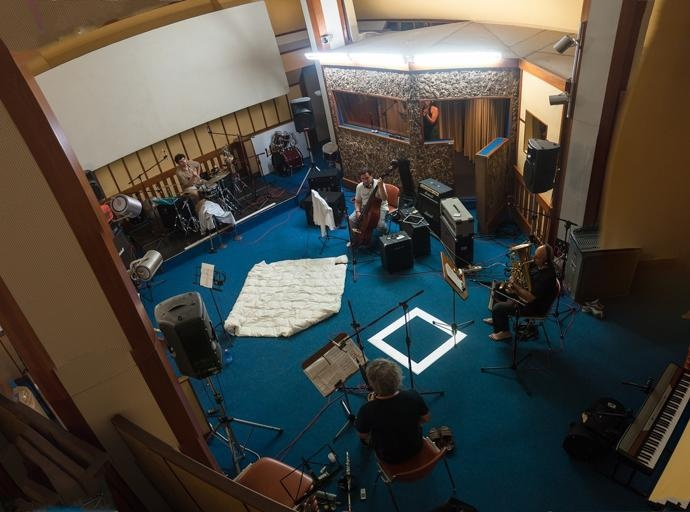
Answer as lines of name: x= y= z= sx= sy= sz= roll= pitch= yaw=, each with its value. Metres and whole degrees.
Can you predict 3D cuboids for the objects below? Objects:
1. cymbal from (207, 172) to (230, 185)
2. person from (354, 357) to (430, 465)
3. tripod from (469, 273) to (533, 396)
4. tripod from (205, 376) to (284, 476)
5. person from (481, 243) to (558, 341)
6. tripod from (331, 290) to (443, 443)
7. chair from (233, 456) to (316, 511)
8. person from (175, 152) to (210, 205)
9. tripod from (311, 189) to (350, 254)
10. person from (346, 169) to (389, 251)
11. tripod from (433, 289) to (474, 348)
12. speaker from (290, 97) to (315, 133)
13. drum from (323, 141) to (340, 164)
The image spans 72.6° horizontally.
cymbal: x=-2.632 y=-1.600 z=9.632 sx=0.327 sy=0.129 sz=0.332 roll=-14 pitch=8 yaw=-39
person: x=0.424 y=1.477 z=4.358 sx=0.576 sy=1.210 sz=0.702 roll=-17 pitch=46 yaw=-2
tripod: x=1.935 y=0.825 z=5.700 sx=0.761 sy=0.744 sz=1.255 roll=-5 pitch=69 yaw=34
tripod: x=-1.335 y=1.706 z=5.385 sx=0.683 sy=1.206 sz=0.786 roll=-31 pitch=-9 yaw=0
person: x=2.073 y=0.433 z=5.586 sx=0.770 sy=1.270 sz=0.556 roll=12 pitch=28 yaw=27
tripod: x=0.490 y=1.253 z=5.230 sx=0.858 sy=1.231 sz=0.837 roll=-19 pitch=46 yaw=4
chair: x=-0.593 y=1.922 z=4.125 sx=0.722 sy=0.266 sz=0.381 roll=11 pitch=34 yaw=31
person: x=-3.029 y=-1.564 z=9.297 sx=0.475 sy=1.184 sz=0.548 roll=22 pitch=29 yaw=40
tripod: x=-0.353 y=-0.663 z=7.974 sx=0.373 sy=0.883 sz=0.349 roll=23 pitch=46 yaw=39
person: x=0.352 y=-0.768 z=7.834 sx=0.738 sy=1.339 sz=0.548 roll=-7 pitch=28 yaw=2
tripod: x=1.450 y=0.836 z=6.216 sx=0.294 sy=0.692 sz=0.378 roll=-6 pitch=23 yaw=-21
speaker: x=-0.916 y=-3.039 z=10.450 sx=0.550 sy=0.899 sz=0.535 roll=-6 pitch=-15 yaw=-19
drum: x=-0.281 y=-2.196 z=9.929 sx=0.356 sy=0.369 sz=0.377 roll=22 pitch=65 yaw=11
